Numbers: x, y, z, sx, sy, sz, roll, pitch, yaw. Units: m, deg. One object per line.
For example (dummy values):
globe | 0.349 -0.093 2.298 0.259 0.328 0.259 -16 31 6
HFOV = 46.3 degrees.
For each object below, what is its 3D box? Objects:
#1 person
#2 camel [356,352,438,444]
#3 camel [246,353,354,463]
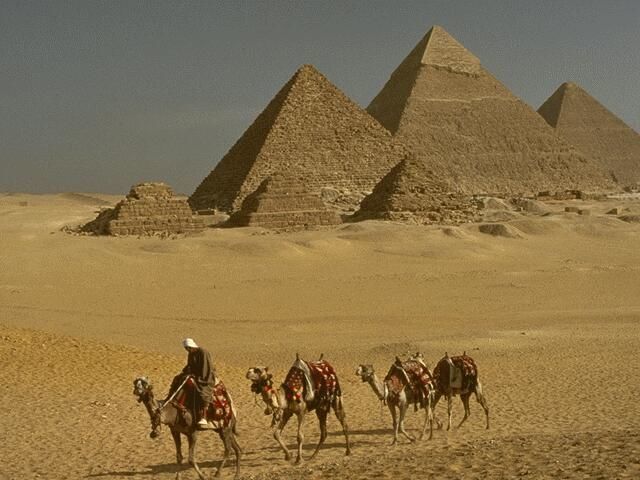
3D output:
person | -1.240 1.379 7.355 0.416 0.848 0.442 3 7 27
camel | 0.877 1.726 7.998 1.233 0.958 0.406 4 -10 -44
camel | -0.187 1.694 7.646 1.057 1.098 0.498 -1 6 -8
